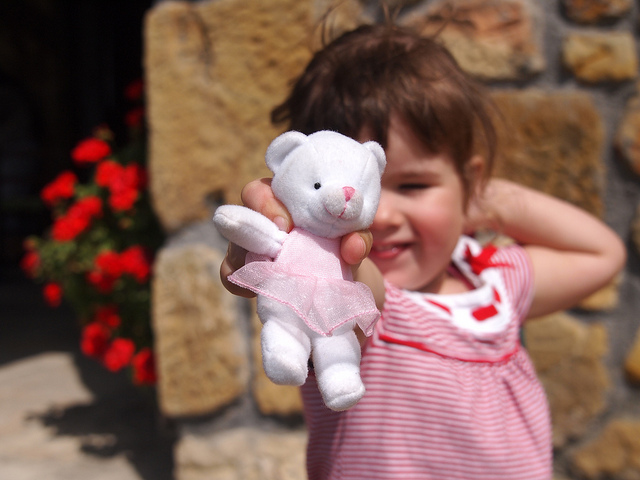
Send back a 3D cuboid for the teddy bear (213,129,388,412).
[{"bbox_3d":[-0.004,0.066,2.378,0.556,0.732,0.399,7,5,-21],"label":"teddy bear"}]
